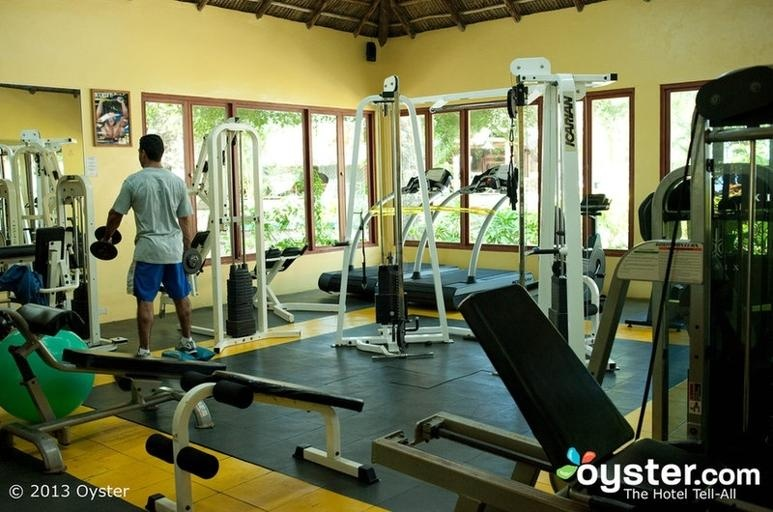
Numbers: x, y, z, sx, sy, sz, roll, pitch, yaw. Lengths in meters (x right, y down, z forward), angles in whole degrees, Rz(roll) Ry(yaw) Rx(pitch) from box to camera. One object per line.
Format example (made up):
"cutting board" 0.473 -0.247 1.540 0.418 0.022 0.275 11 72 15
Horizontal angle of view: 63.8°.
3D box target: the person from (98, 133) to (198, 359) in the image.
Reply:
"person" -2.348 -0.101 6.107 0.823 2.088 0.665 -2 3 -37
